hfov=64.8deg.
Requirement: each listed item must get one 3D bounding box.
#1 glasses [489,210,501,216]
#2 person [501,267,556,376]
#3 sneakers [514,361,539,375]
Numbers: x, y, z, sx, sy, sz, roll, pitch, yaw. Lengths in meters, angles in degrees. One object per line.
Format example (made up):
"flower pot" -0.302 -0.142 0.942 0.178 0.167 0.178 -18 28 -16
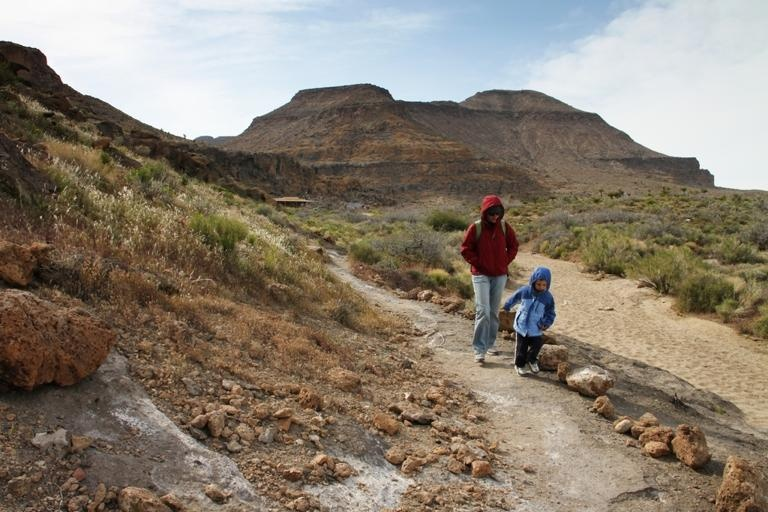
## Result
"glasses" 1.955 -0.743 10.716 0.109 0.117 0.037 -1 43 1
"person" 2.577 1.107 10.609 0.602 1.870 0.679 3 7 -6
"sneakers" 2.467 1.963 10.494 0.422 0.210 0.177 -1 14 7
